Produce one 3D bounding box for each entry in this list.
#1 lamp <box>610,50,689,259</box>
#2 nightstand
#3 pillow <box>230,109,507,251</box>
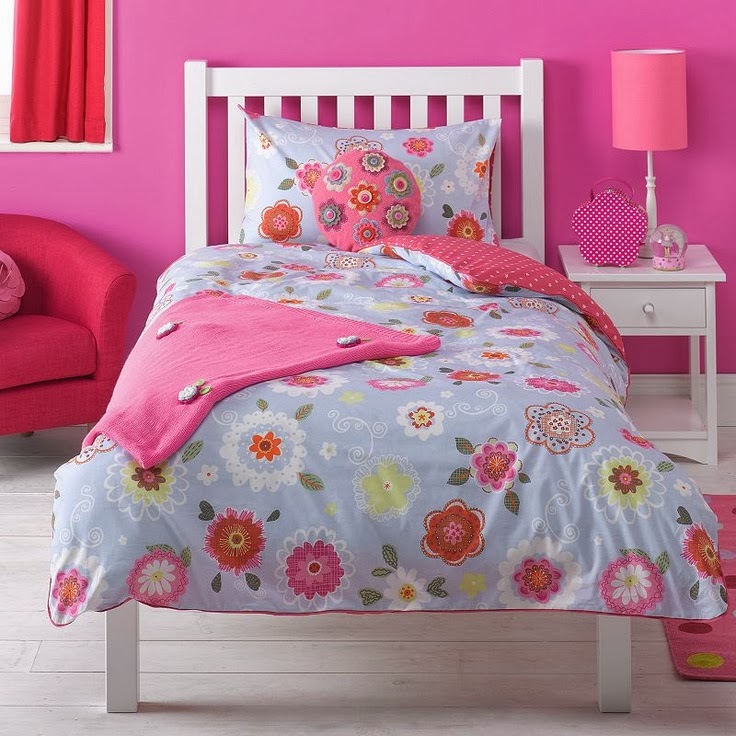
[{"bbox_3d":[0.939,-0.732,2.902,0.245,0.712,0.289,0,8,14],"label":"lamp"},{"bbox_3d":[0.917,-0.064,2.916,0.492,0.699,0.534,0,7,16],"label":"nightstand"},{"bbox_3d":[-0.009,-0.609,2.817,0.880,0.398,0.179,0,-24,4],"label":"pillow"}]
